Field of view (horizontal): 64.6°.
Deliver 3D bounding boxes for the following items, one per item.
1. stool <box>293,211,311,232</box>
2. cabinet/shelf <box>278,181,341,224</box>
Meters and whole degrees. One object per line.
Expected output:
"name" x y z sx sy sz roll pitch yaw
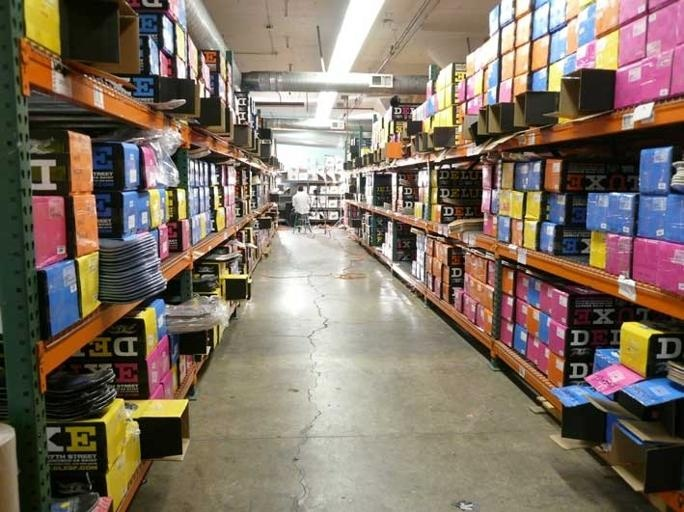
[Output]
"stool" -1.160 -0.991 15.519 0.615 0.771 0.599 -3 7 -9
"cabinet/shelf" -0.999 -1.622 16.091 1.535 0.976 0.483 0 4 -7
